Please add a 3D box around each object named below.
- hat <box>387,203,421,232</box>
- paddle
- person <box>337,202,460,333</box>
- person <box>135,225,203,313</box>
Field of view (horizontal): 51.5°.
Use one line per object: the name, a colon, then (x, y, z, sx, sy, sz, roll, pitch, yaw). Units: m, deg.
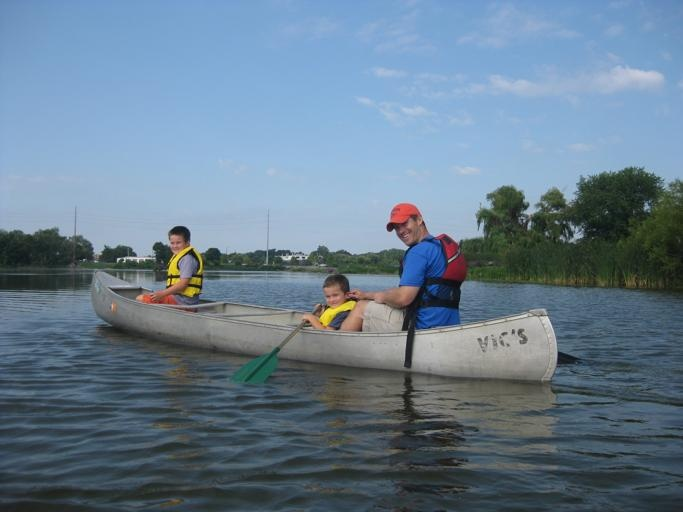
hat: (0.657, -0.390, 7.295, 0.327, 0.299, 0.397, 1, 9, 3)
paddle: (-0.680, 1.014, 7.913, 0.311, 0.104, 1.336, 16, 27, 21)
person: (0.586, 0.323, 7.880, 1.555, 1.727, 1.058, 0, -4, 20)
person: (-2.390, 0.168, 9.911, 0.871, 1.158, 0.824, 4, -4, -30)
